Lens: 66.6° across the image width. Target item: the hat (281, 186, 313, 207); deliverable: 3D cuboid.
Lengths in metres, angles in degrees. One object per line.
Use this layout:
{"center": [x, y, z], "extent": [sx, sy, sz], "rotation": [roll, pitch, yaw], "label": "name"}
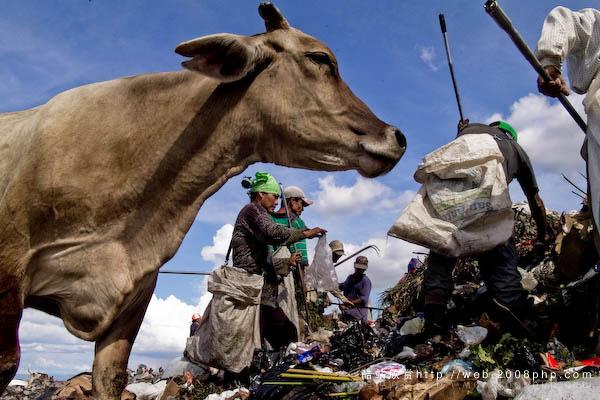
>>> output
{"center": [-0.086, -0.092, 8.855], "extent": [0.540, 0.285, 0.337], "rotation": [6, -9, -3], "label": "hat"}
